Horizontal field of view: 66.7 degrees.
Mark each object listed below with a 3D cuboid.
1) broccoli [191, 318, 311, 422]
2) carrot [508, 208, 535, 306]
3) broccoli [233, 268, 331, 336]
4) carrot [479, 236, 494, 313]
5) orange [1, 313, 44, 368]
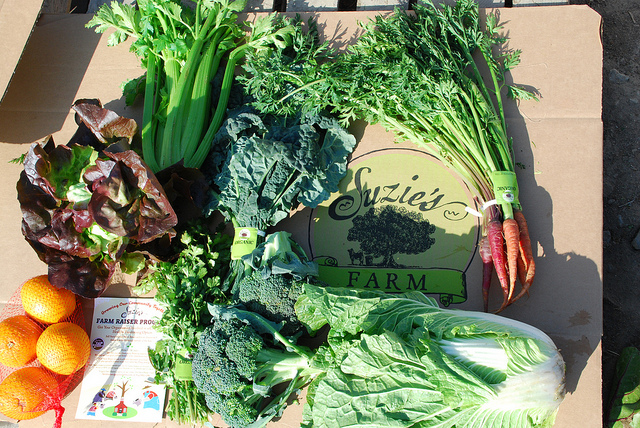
[{"bbox_3d":[-0.399,0.865,2.667,0.640,0.541,0.191,7,15,5],"label":"broccoli"},{"bbox_3d":[1.184,0.239,2.797,0.131,0.575,0.155,1,0,-16],"label":"carrot"},{"bbox_3d":[-0.262,0.429,2.952,0.472,0.353,0.743,-6,18,3],"label":"broccoli"},{"bbox_3d":[0.966,0.318,2.821,0.078,0.381,0.081,1,-2,8],"label":"carrot"},{"bbox_3d":[-1.778,0.753,2.890,0.285,0.229,0.264,-18,16,-21],"label":"orange"}]
